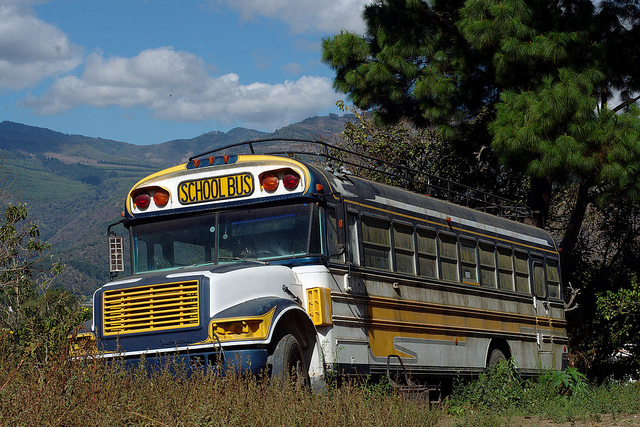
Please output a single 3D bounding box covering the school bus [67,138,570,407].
[{"bbox_3d":[1.423,1.680,16.058,13.351,4.876,3.595,13,-20,-39],"label":"school bus"}]
